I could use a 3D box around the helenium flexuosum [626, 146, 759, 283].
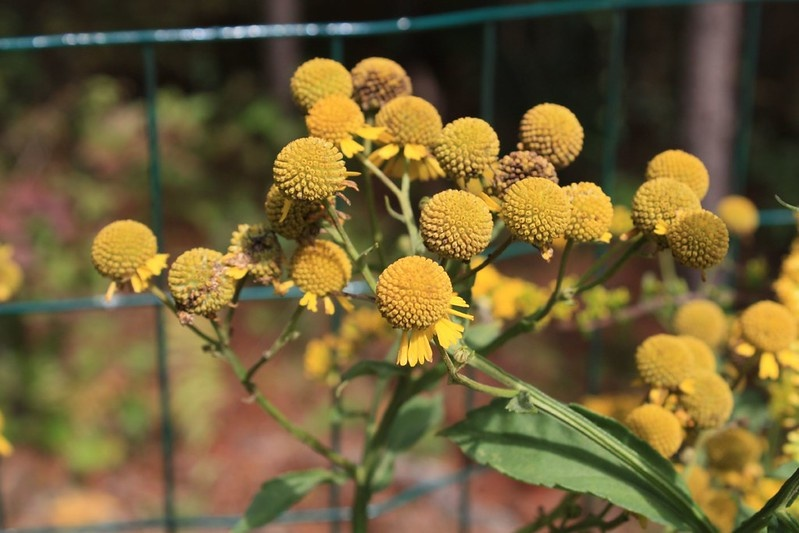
[{"bbox_3d":[0.734,-0.144,2.167,0.235,0.308,0.251,-1,11,15],"label":"helenium flexuosum"}]

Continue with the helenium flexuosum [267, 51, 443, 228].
[{"bbox_3d":[-0.088,-0.414,2.350,0.418,0.584,0.435,-2,26,-3],"label":"helenium flexuosum"}]

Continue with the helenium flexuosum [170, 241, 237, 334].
[{"bbox_3d":[-0.512,0.049,2.079,0.151,0.199,0.096,12,8,-5],"label":"helenium flexuosum"}]

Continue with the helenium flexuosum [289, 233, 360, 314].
[{"bbox_3d":[-0.192,0.018,2.177,0.167,0.184,0.171,2,9,8],"label":"helenium flexuosum"}]

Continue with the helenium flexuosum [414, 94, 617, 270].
[{"bbox_3d":[0.298,-0.215,2.138,0.503,0.397,0.314,-4,11,1],"label":"helenium flexuosum"}]

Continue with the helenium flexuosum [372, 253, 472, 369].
[{"bbox_3d":[0.062,0.117,2.067,0.260,0.280,0.247,15,19,29],"label":"helenium flexuosum"}]

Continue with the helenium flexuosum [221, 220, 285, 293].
[{"bbox_3d":[-0.383,-0.042,2.148,0.180,0.221,0.087,12,-30,-32],"label":"helenium flexuosum"}]
